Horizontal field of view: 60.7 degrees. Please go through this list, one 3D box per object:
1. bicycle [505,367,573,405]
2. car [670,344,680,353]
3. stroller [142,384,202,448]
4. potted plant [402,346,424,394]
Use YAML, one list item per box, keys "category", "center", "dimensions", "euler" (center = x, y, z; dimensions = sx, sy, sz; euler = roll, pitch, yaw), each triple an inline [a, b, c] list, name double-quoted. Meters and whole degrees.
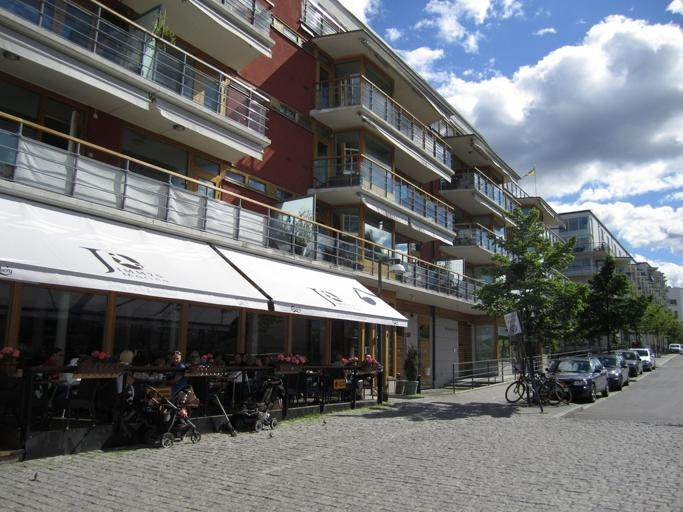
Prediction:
- category: "bicycle"
  center: [6.906, 4.520, 20.486]
  dimensions: [2.582, 1.299, 1.209]
  euler: [-7, -28, 27]
- category: "car"
  center: [57.601, 15.927, 100.795]
  dimensions: [1.814, 1.256, 3.036]
  euler: [-1, -3, 27]
- category: "stroller"
  center: [-3.617, 3.467, 12.792]
  dimensions: [1.413, 1.397, 1.033]
  euler: [1, -6, -24]
- category: "potted plant"
  center: [2.864, 4.595, 23.618]
  dimensions: [0.645, 1.883, 1.197]
  euler: [1, -6, 5]
